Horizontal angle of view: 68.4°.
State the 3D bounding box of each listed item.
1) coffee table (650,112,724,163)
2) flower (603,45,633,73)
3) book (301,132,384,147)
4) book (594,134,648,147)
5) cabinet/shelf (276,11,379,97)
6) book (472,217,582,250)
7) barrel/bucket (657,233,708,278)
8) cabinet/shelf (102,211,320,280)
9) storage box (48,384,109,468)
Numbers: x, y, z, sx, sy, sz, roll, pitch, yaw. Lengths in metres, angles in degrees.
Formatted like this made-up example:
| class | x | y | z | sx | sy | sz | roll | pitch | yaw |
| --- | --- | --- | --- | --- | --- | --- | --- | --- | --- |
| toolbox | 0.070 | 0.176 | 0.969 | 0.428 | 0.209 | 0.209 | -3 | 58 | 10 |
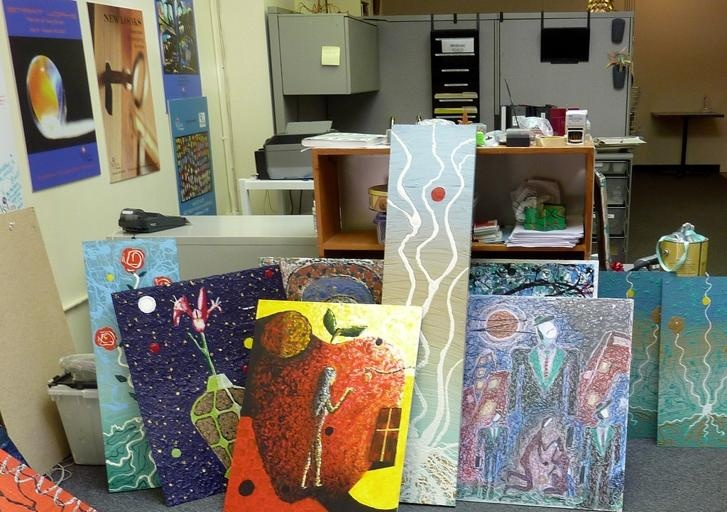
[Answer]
| class | x | y | z | sx | sy | sz | roll | pitch | yaw |
| --- | --- | --- | --- | --- | --- | --- | --- | --- | --- |
| coffee table | 5.890 | -2.199 | 9.872 | 1.076 | 0.968 | 1.040 | 1 | 30 | 12 |
| flower | 2.511 | -1.917 | 5.230 | 0.265 | 0.249 | 0.138 | 7 | 3 | 19 |
| book | -0.080 | -0.583 | 2.692 | 0.402 | 0.061 | 0.381 | -3 | 15 | 2 |
| book | 2.189 | -0.971 | 4.623 | 0.366 | 0.089 | 0.380 | 3 | 16 | 20 |
| cabinet/shelf | -0.306 | -1.979 | 5.309 | 0.734 | 0.636 | 1.378 | 4 | 20 | 14 |
| book | 0.861 | -0.115 | 2.571 | 0.369 | 0.093 | 0.303 | 1 | 16 | 14 |
| barrel/bucket | 1.558 | -0.002 | 2.622 | 0.217 | 0.199 | 0.210 | -5 | 12 | 1 |
| cabinet/shelf | -0.833 | -0.062 | 3.488 | 1.227 | 0.373 | 1.083 | 0 | 0 | 0 |
| storage box | -1.351 | 0.809 | 2.531 | 0.308 | 0.299 | 0.282 | -23 | -19 | -28 |
